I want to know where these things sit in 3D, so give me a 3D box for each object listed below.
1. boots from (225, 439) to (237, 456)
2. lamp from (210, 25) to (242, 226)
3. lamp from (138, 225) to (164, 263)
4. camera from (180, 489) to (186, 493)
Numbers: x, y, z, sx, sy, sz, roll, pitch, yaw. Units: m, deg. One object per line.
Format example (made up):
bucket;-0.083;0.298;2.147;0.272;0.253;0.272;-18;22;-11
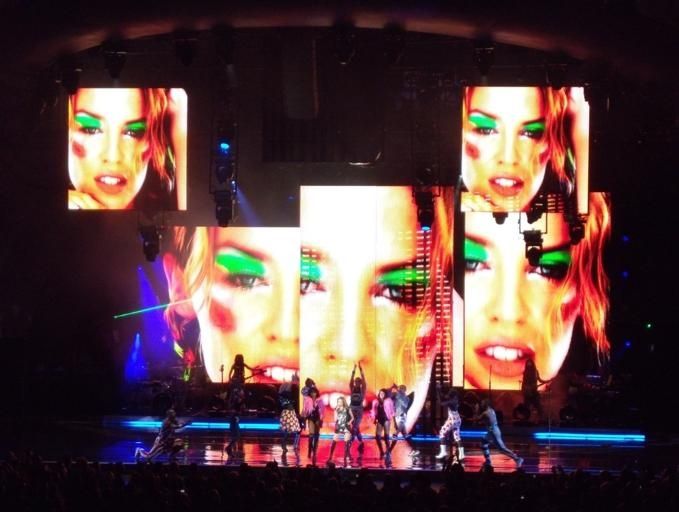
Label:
boots;-2.141;3.905;23.098;0.133;0.277;0.389;5;79;-5
lamp;-2.517;-2.660;23.606;0.673;0.993;3.996;0;91;-2
lamp;-3.986;-0.219;24.743;0.466;1.064;0.722;-1;67;0
camera;-2.481;3.818;18.483;0.087;0.153;0.081;0;87;-5
